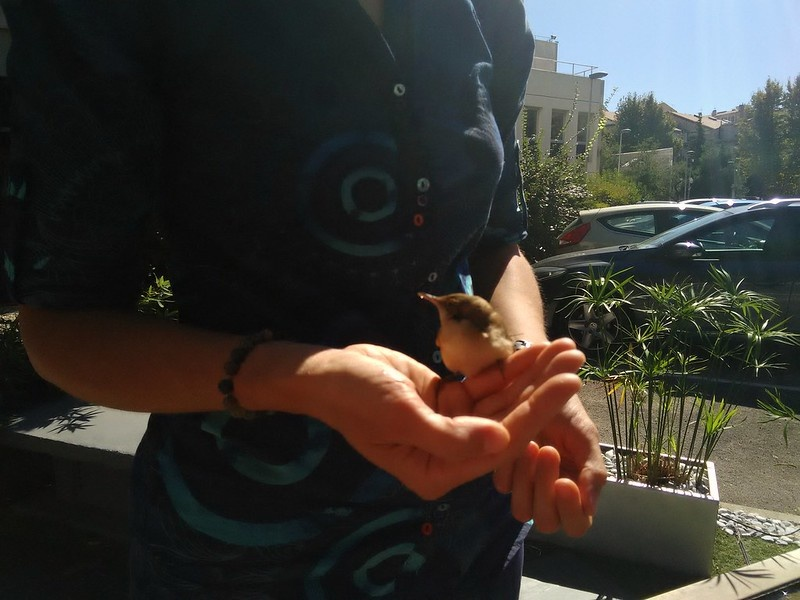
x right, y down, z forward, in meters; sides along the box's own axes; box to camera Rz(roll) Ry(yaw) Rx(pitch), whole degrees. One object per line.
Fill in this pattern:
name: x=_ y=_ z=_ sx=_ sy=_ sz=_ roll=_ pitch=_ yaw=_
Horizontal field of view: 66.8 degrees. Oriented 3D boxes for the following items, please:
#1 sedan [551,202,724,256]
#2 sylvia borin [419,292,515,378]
sedan: x=3.729 y=-1.257 z=9.821 sx=2.044 sy=1.025 sz=1.226 roll=-7 pitch=14 yaw=-8
sylvia borin: x=0.138 y=0.076 z=1.238 sx=0.206 sy=0.193 sz=0.158 roll=4 pitch=6 yaw=-4
